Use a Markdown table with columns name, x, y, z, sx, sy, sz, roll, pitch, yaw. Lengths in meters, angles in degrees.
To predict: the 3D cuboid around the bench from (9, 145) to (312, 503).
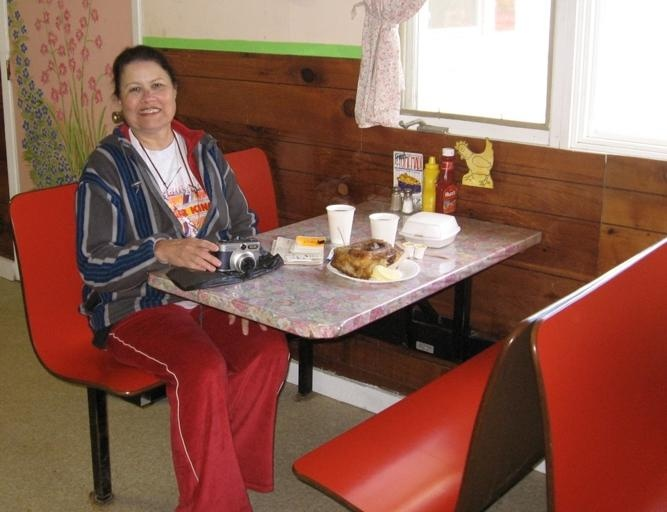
| name | x | y | z | sx | sy | sz | roll | pitch | yaw |
| --- | --- | --- | --- | --- | --- | --- | --- | --- | --- |
| bench | -0.624 | 0.276 | 1.982 | 0.440 | 0.910 | 1.164 | 10 | 20 | 30 |

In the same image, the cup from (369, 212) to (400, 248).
| name | x | y | z | sx | sy | sz | roll | pitch | yaw |
| --- | --- | --- | --- | --- | --- | --- | --- | --- | --- |
| cup | 0.160 | -0.087 | 1.872 | 0.104 | 0.110 | 0.100 | 1 | 16 | 0 |

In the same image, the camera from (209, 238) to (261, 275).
| name | x | y | z | sx | sy | sz | roll | pitch | yaw |
| --- | --- | --- | --- | --- | --- | --- | --- | --- | --- |
| camera | -0.278 | 0.002 | 1.657 | 0.135 | 0.094 | 0.073 | -6 | 16 | -33 |

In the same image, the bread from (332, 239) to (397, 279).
| name | x | y | z | sx | sy | sz | roll | pitch | yaw |
| --- | --- | --- | --- | --- | --- | --- | --- | --- | --- |
| bread | 0.080 | -0.003 | 1.652 | 0.149 | 0.063 | 0.115 | 9 | 34 | 32 |

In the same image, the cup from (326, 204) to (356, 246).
| name | x | y | z | sx | sy | sz | roll | pitch | yaw |
| --- | --- | --- | --- | --- | --- | --- | --- | --- | --- |
| cup | 0.021 | -0.108 | 1.886 | 0.120 | 0.138 | 0.124 | 0 | 11 | 0 |
